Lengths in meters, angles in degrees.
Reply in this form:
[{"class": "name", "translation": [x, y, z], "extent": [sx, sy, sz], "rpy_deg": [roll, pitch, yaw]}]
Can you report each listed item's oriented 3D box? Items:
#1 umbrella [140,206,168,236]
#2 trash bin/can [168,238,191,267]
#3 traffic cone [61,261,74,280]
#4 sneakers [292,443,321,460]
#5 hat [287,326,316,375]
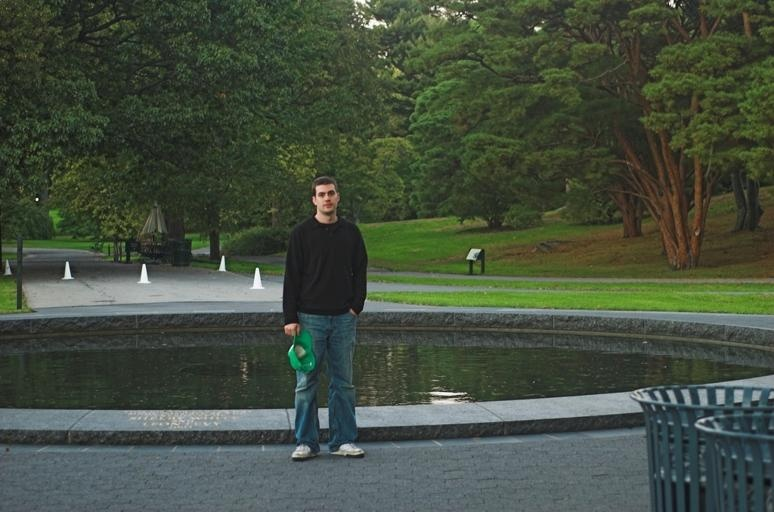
[{"class": "umbrella", "translation": [-11.513, -1.676, 55.005], "extent": [1.682, 1.677, 1.378], "rpy_deg": [0, 6, -31]}, {"class": "trash bin/can", "translation": [-10.087, -0.161, 55.009], "extent": [1.285, 1.550, 1.227], "rpy_deg": [-2, 0, -22]}, {"class": "traffic cone", "translation": [-13.592, 0.631, 47.614], "extent": [0.721, 0.864, 0.733], "rpy_deg": [0, -2, -12]}, {"class": "sneakers", "translation": [-1.798, 4.372, 24.934], "extent": [0.594, 0.241, 0.273], "rpy_deg": [4, -4, -8]}, {"class": "hat", "translation": [-1.921, 2.169, 25.037], "extent": [0.716, 0.839, 0.837], "rpy_deg": [11, -22, -5]}]
